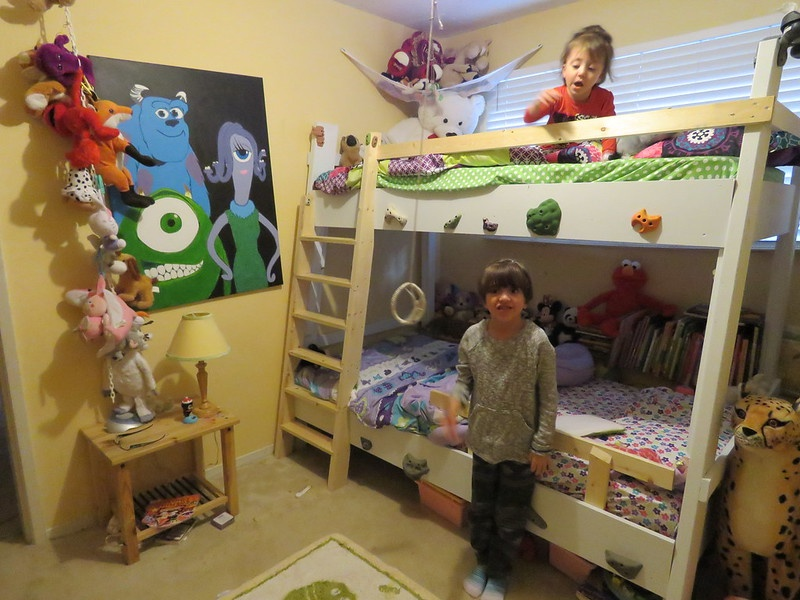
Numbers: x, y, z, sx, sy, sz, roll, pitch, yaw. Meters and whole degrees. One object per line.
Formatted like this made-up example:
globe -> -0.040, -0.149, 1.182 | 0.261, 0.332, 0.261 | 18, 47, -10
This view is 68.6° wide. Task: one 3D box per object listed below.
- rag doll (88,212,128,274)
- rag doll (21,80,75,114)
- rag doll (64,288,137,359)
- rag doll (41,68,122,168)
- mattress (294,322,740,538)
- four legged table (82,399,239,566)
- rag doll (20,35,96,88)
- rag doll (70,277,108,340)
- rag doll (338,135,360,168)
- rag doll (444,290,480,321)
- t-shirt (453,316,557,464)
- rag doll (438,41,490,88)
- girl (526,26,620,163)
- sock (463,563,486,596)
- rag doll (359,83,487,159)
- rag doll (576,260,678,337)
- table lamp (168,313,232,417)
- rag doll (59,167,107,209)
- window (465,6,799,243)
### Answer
rag doll -> -1.508, -0.309, 3.061 | 0.142, 0.352, 0.182 | 12, 19, 37
rag doll -> -1.702, -0.986, 2.830 | 0.186, 0.142, 0.084 | -13, 22, -30
rag doll -> -1.546, 0.049, 3.035 | 0.282, 0.146, 0.297 | 9, 45, -57
rag doll -> -1.589, -0.888, 2.904 | 0.359, 0.517, 0.333 | 9, 24, -2
mattress -> 0.691, 0.638, 3.426 | 1.730, 0.756, 1.133 | 10, 15, 34
four legged table -> -1.321, 0.980, 3.333 | 0.484, 0.614, 0.669 | 14, 20, 42
rag doll -> -1.674, -1.191, 2.812 | 0.243, 0.098, 0.286 | 7, -15, -33
rag doll -> -1.588, 0.038, 3.029 | 0.214, 0.320, 0.175 | 11, 19, 36
rag doll -> -0.331, -0.959, 3.846 | 0.130, 0.215, 0.111 | 6, 8, 23
rag doll -> 0.502, 0.072, 4.745 | 0.323, 0.315, 0.219 | -3, -12, 17
t-shirt -> 0.512, 0.453, 2.920 | 0.512, 0.706, 0.234 | 4, 16, 15
rag doll -> 0.463, -1.689, 4.243 | 0.410, 0.420, 0.269 | 2, 25, 5
girl -> 0.924, -1.067, 3.168 | 0.480, 0.674, 0.475 | -2, 18, -5
sock -> 0.382, 1.421, 2.995 | 0.059, 0.070, 0.169 | 10, 7, 20
rag doll -> 0.234, -1.468, 4.324 | 0.376, 0.594, 0.578 | 9, 21, -22
rag doll -> 1.499, -0.002, 3.817 | 0.249, 0.386, 0.443 | 4, 7, -42
table lamp -> -1.161, 0.372, 3.376 | 0.317, 0.616, 0.368 | -8, 17, -26
rag doll -> -1.584, -0.562, 2.963 | 0.212, 0.193, 0.123 | -15, 21, -42
window -> 1.270, -0.927, 3.085 | 1.531, 0.960, 0.600 | 16, 8, 35
